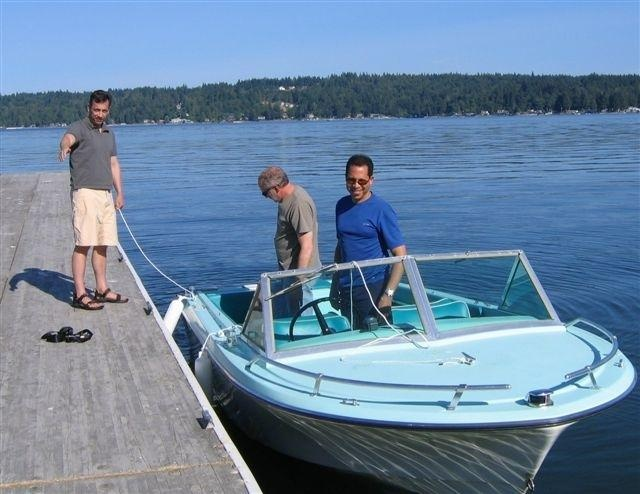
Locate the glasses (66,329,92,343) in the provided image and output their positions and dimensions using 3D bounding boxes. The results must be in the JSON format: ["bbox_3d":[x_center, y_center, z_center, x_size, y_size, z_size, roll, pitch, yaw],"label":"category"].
[{"bbox_3d":[-2.134,0.798,5.162,0.148,0.054,0.115,-6,9,-38],"label":"glasses"}]

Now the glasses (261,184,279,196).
[{"bbox_3d":[-0.478,-0.523,5.555,0.113,0.032,0.120,-14,27,20],"label":"glasses"}]

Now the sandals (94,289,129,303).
[{"bbox_3d":[-2.172,0.524,6.060,0.305,0.131,0.163,-1,12,-10],"label":"sandals"}]

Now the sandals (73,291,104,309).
[{"bbox_3d":[-2.360,0.555,5.911,0.305,0.129,0.155,3,8,27],"label":"sandals"}]

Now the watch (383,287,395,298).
[{"bbox_3d":[0.578,0.377,4.854,0.079,0.101,0.055,4,44,-11],"label":"watch"}]

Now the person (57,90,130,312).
[{"bbox_3d":[-2.252,-0.399,5.723,0.677,2.176,1.427,-9,14,-18],"label":"person"}]
